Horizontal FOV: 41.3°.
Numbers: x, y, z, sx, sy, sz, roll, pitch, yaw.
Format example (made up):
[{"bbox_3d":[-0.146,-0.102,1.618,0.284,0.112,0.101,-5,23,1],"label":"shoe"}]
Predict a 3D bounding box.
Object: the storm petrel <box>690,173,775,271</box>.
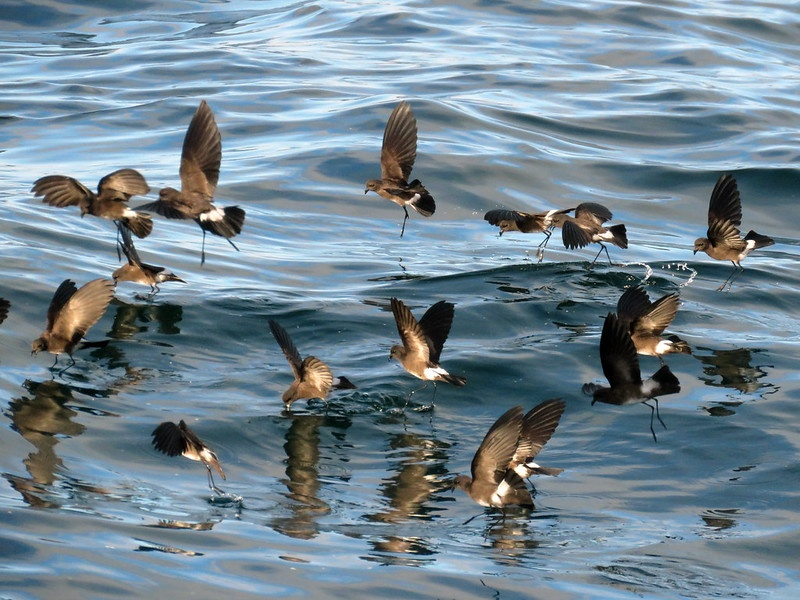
[{"bbox_3d":[5.418,-1.243,17.027,1.062,2.161,0.284,7,57,5],"label":"storm petrel"}]
